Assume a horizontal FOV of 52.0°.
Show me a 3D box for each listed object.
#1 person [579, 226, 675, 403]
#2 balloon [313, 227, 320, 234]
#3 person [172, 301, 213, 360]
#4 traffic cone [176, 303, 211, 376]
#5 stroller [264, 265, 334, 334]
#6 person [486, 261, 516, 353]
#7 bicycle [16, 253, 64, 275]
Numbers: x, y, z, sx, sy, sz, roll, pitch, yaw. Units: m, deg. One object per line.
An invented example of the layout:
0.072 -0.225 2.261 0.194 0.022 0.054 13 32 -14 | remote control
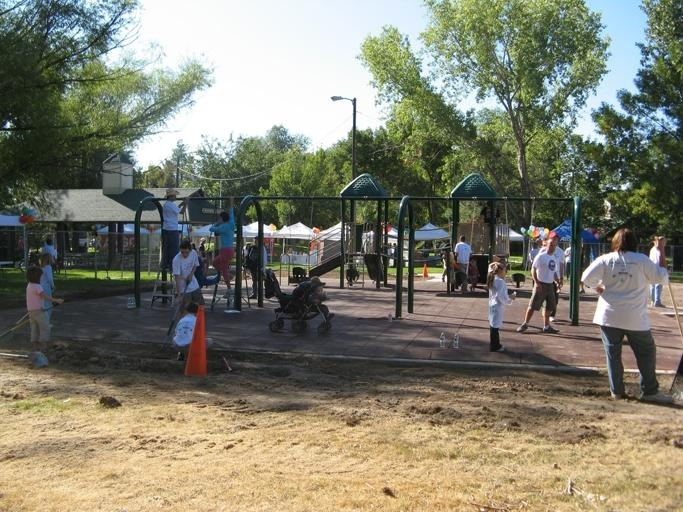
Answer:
4.247 0.760 10.713 1.271 2.668 1.057 0 0 -40 | person
-1.088 -1.252 34.103 0.518 0.285 0.462 1 0 -18 | balloon
-2.652 1.297 12.221 0.462 1.170 0.488 0 0 3 | person
-2.469 1.458 11.604 0.503 1.327 0.522 0 0 -3 | traffic cone
-0.920 1.010 15.339 1.438 1.559 1.087 0 -1 12 | stroller
2.984 0.924 13.079 0.518 1.831 0.464 -1 2 5 | person
-11.057 0.292 25.897 0.834 0.537 1.380 0 -6 1 | bicycle
